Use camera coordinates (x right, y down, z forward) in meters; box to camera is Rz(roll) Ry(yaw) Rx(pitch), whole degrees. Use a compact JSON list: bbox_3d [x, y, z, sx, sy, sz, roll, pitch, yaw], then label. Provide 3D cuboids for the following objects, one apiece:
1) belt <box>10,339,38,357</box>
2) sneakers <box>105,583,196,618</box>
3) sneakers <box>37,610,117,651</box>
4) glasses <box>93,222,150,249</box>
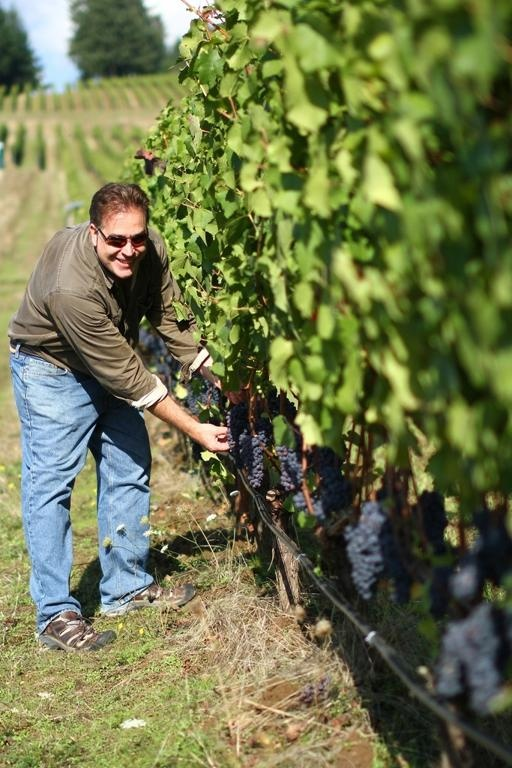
[{"bbox_3d":[-1.016,-0.158,3.215,0.104,0.030,0.095,17,-6,29],"label":"belt"},{"bbox_3d":[-0.449,0.983,3.363,0.463,0.175,0.163,-3,0,-4],"label":"sneakers"},{"bbox_3d":[-0.769,1.071,3.103,0.378,0.166,0.135,0,4,12],"label":"sneakers"},{"bbox_3d":[-0.520,-0.577,2.850,0.177,0.105,0.090,-12,15,-10],"label":"glasses"}]
